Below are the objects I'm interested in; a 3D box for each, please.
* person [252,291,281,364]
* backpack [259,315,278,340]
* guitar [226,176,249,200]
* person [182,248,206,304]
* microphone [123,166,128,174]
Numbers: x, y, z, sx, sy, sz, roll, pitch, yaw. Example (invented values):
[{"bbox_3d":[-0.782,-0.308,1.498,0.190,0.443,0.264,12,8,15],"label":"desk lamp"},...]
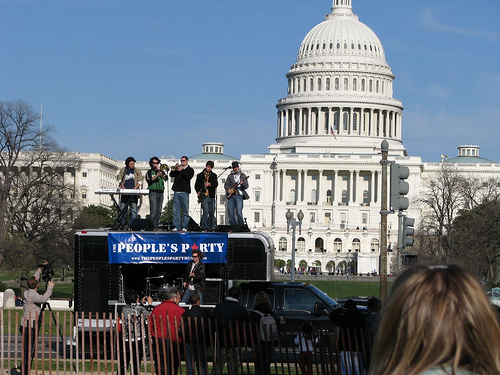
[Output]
[{"bbox_3d":[0.369,3.738,31.896,0.713,1.932,0.746,-21,-17,36],"label":"person"},{"bbox_3d":[0.437,3.734,31.561,0.426,0.690,0.751,-5,-11,22],"label":"backpack"},{"bbox_3d":[-0.456,-0.023,39.468,0.450,1.143,0.131,32,-17,43],"label":"guitar"},{"bbox_3d":[-1.713,2.741,34.863,0.834,1.740,0.757,5,8,27],"label":"person"},{"bbox_3d":[-4.114,-0.624,39.127,0.036,0.145,0.149,21,-9,-22],"label":"microphone"}]
